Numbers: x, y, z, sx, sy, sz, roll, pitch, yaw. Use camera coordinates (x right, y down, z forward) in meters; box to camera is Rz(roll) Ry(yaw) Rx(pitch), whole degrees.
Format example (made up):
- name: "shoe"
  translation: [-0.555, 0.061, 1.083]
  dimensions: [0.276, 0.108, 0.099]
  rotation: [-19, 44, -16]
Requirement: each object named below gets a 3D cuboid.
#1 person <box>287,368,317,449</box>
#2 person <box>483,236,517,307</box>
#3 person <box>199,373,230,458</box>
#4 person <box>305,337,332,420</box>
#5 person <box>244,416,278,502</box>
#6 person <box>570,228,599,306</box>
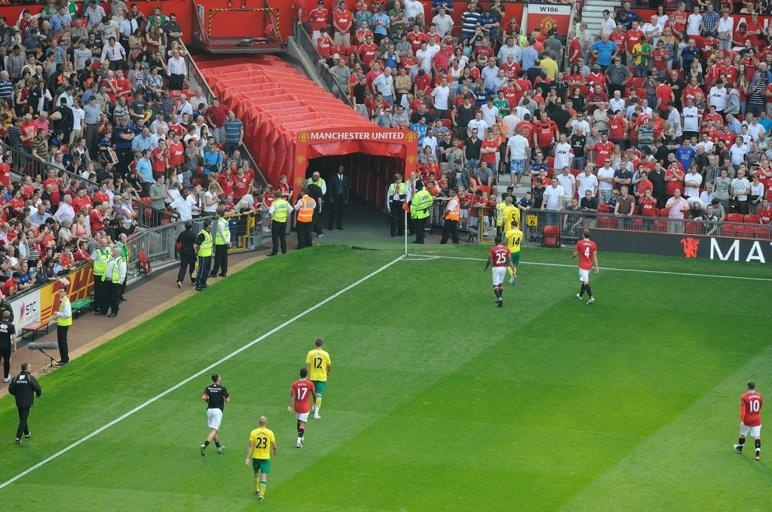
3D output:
- name: "person"
  translation: [-2.562, 4.541, 46.491]
  dimensions: [0.966, 2.242, 1.365]
  rotation: [1, -4, -4]
- name: "person"
  translation: [3.828, 0.548, 53.275]
  dimensions: [0.881, 2.432, 1.160]
  rotation: [1, 0, 18]
- name: "person"
  translation: [-5.196, 4.692, 46.390]
  dimensions: [0.787, 2.547, 1.299]
  rotation: [1, 12, -7]
- name: "person"
  translation: [-2.136, 3.756, 47.694]
  dimensions: [0.862, 2.455, 0.742]
  rotation: [0, 4, -26]
- name: "person"
  translation: [-3.643, 5.750, 44.909]
  dimensions: [0.875, 2.484, 1.495]
  rotation: [1, 12, -5]
- name: "person"
  translation: [6.811, 0.319, 53.369]
  dimensions: [0.861, 2.887, 1.123]
  rotation: [0, 0, 38]
